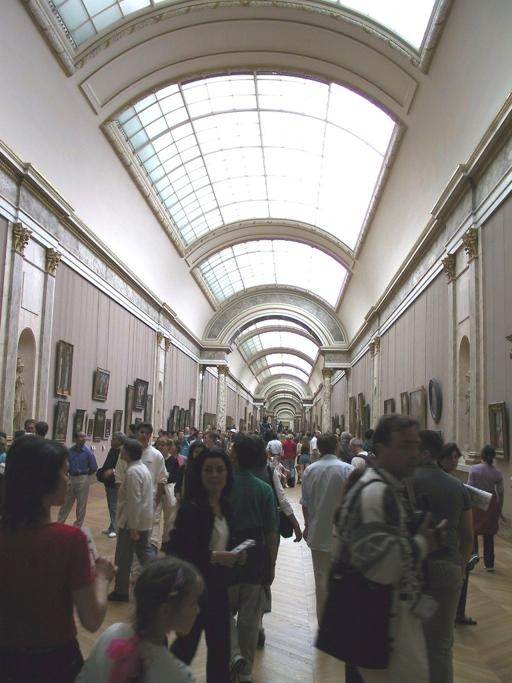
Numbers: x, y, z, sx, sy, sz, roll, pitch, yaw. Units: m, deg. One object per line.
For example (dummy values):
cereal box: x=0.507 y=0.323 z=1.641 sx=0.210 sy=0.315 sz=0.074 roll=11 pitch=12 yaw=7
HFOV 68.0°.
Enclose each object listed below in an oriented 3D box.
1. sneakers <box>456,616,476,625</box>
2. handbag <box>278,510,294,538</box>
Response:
sneakers: x=2.320 y=3.130 z=4.242 sx=0.112 sy=0.049 sz=0.100 roll=0 pitch=-10 yaw=5
handbag: x=0.301 y=1.952 z=4.064 sx=0.137 sy=0.293 sz=0.255 roll=1 pitch=-4 yaw=2
